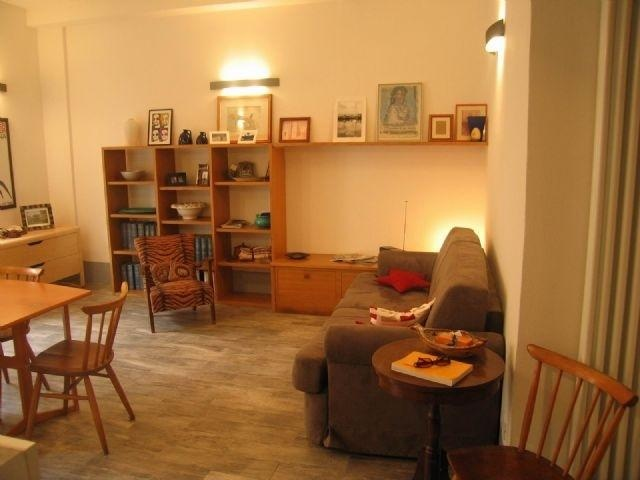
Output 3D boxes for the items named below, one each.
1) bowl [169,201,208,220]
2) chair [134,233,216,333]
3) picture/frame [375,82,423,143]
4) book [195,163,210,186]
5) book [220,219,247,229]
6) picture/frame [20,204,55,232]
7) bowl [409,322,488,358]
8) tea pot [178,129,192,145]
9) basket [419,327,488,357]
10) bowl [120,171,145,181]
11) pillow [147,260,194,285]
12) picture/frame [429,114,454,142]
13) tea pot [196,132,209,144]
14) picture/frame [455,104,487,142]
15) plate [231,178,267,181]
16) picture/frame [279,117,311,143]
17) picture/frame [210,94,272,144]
[{"bbox_3d":[-1.667,-0.380,6.491,0.461,0.199,0.404,-3,9,-8],"label":"bowl"},{"bbox_3d":[-1.634,0.369,6.020,0.897,1.097,1.162,-4,-3,-24],"label":"chair"},{"bbox_3d":[0.913,-1.468,5.802,0.492,0.649,0.190,0,11,6],"label":"picture/frame"},{"bbox_3d":[-1.471,-0.836,6.410,0.153,0.277,0.295,-5,11,-18],"label":"book"},{"bbox_3d":[-1.052,-0.206,6.299,0.314,0.070,0.442,-2,9,-6],"label":"book"},{"bbox_3d":[-3.754,-0.301,6.742,0.031,0.306,0.395,-9,2,35],"label":"picture/frame"},{"bbox_3d":[0.764,0.614,3.106,0.439,0.124,0.317,11,13,42],"label":"bowl"},{"bbox_3d":[-1.665,-1.289,6.320,0.180,0.197,0.288,-4,10,-14],"label":"tea pot"},{"bbox_3d":[0.774,0.601,3.031,0.255,0.070,0.207,2,4,30],"label":"basket"},{"bbox_3d":[-2.383,-0.827,6.501,0.177,0.069,0.172,0,2,0],"label":"bowl"},{"bbox_3d":[-1.693,0.359,5.803,0.414,0.230,0.110,-4,-17,-24],"label":"pillow"},{"bbox_3d":[1.361,-1.251,5.668,0.360,0.363,0.032,1,1,7],"label":"picture/frame"},{"bbox_3d":[-1.441,-1.267,6.263,0.153,0.177,0.381,-4,10,-13],"label":"tea pot"},{"bbox_3d":[1.641,-1.286,5.554,0.331,0.424,0.265,1,11,14],"label":"picture/frame"},{"bbox_3d":[-0.843,-0.727,6.095,0.435,0.046,0.147,1,9,11],"label":"plate"},{"bbox_3d":[-0.283,-1.311,6.048,0.385,0.286,0.030,1,2,12],"label":"picture/frame"},{"bbox_3d":[-0.925,-1.479,6.214,0.789,0.561,0.056,0,1,10],"label":"picture/frame"}]
